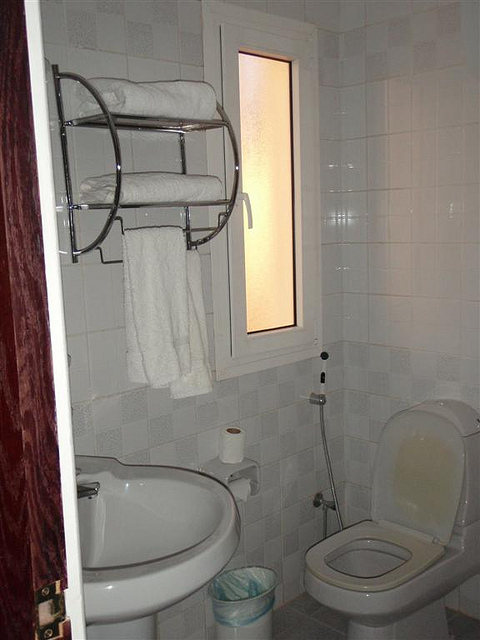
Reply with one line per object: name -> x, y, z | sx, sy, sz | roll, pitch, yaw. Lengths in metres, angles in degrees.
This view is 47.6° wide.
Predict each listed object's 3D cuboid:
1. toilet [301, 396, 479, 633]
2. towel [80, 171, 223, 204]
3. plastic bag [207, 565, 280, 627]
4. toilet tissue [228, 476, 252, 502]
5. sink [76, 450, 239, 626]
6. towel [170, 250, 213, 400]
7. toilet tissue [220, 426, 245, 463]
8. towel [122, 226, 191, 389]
toilet -> 0.534, 0.620, 1.843 | 0.412, 0.580, 0.711 | 4, 13, 43
towel -> -0.238, -0.354, 1.451 | 0.343, 0.091, 0.212 | -15, 14, -43
plastic bag -> -0.002, 0.935, 1.857 | 0.224, 0.119, 0.277 | -3, 2, 28
toilet tissue -> 0.002, 0.565, 1.828 | 0.039, 0.063, 0.078 | 4, 13, 41
sink -> -0.190, 0.459, 1.261 | 0.351, 0.202, 0.508 | -8, 10, -17
towel -> -0.141, 0.027, 1.561 | 0.087, 0.442, 0.111 | -7, 18, -37
toilet tissue -> -0.027, 0.413, 1.810 | 0.076, 0.106, 0.103 | 1, 3, 2
towel -> -0.206, -0.040, 1.439 | 0.198, 0.410, 0.079 | -11, 11, -35
